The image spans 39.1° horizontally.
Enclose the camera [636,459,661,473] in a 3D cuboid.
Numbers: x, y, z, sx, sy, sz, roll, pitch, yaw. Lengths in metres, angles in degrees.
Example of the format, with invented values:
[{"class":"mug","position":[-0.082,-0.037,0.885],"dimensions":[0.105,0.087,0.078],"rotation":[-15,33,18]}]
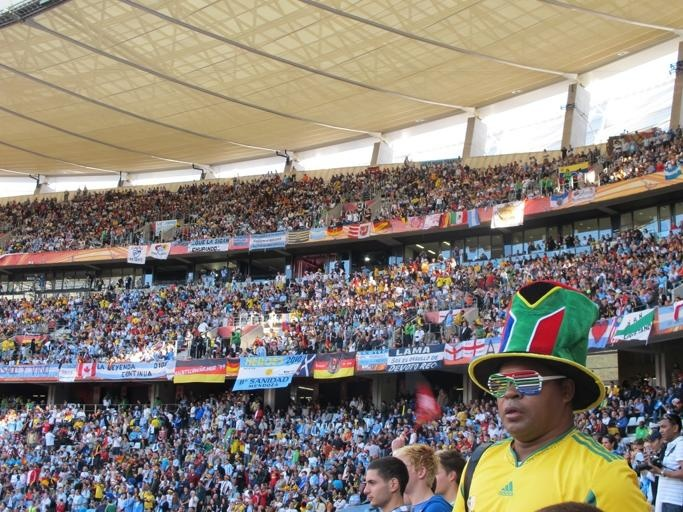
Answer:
[{"class":"camera","position":[8.318,5.685,25.949],"dimensions":[0.519,0.271,0.451],"rotation":[1,-3,-13]}]
